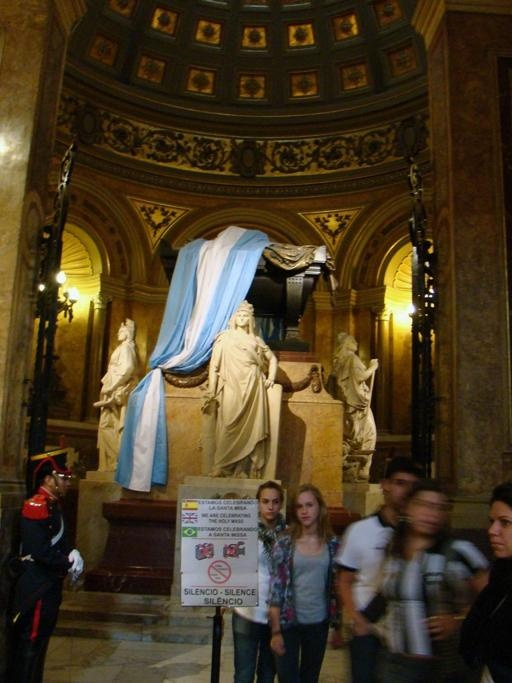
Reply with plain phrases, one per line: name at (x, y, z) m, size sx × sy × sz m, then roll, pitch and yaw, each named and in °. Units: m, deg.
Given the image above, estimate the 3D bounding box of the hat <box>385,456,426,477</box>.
hat at (0.536, 0.462, 2.181) m, size 0.111 × 0.091 × 0.079 m, roll 3°, pitch 5°, yaw -11°

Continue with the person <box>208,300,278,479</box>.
person at (-0.153, 0.526, 6.012) m, size 0.739 × 1.539 × 0.776 m, roll -3°, pitch 6°, yaw 1°

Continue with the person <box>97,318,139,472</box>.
person at (-1.794, 0.663, 7.648) m, size 0.474 × 1.818 × 0.987 m, roll -3°, pitch 6°, yaw 5°

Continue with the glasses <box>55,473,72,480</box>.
glasses at (-1.114, 0.791, 3.516) m, size 0.080 × 0.021 × 0.055 m, roll 5°, pitch -3°, yaw -15°
